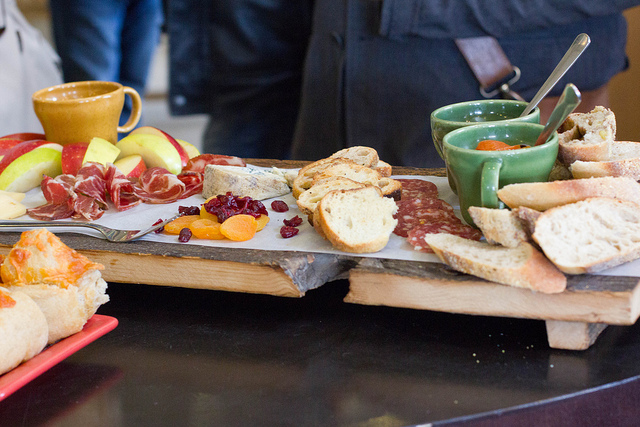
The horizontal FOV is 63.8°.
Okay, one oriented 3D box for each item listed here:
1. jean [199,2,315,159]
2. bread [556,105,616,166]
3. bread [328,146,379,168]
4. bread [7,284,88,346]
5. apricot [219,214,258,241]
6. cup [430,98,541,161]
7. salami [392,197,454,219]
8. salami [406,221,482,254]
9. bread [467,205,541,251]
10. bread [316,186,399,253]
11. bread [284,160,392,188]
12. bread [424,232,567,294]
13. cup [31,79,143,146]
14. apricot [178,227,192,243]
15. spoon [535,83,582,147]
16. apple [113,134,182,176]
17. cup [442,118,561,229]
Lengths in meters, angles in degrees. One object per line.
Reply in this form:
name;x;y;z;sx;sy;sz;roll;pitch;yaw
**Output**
jean;-0.296;-0.607;2.420;0.539;0.745;0.144;1;34;2
bread;0.630;-0.182;1.204;0.162;0.158;0.150;-1;13;25
bread;0.121;-0.164;1.468;0.095;0.022;0.089;3;26;44
bread;-0.482;0.169;0.995;0.176;0.102;0.123;3;16;2
apricot;-0.188;0.034;1.182;0.081;0.036;0.064;0;32;1
cup;0.418;-0.206;1.305;0.200;0.132;0.202;-5;24;2
salami;0.247;-0.036;1.259;0.084;0.013;0.078;-1;22;21
salami;0.267;0.040;1.093;0.186;0.059;0.121;1;12;21
bread;0.368;0.029;1.087;0.109;0.077;0.157;-3;10;-9
bread;0.087;0.006;1.157;0.171;0.084;0.199;5;32;8
bread;0.069;-0.108;1.441;0.175;0.040;0.123;-25;67;-5
bread;0.347;0.088;1.032;0.285;0.054;0.112;15;35;23
cup;-0.748;-0.304;1.658;0.269;0.202;0.292;3;27;-1
apricot;-0.309;0.050;1.177;0.025;0.009;0.031;7;54;2
spoon;0.496;-0.204;1.069;0.058;0.150;0.110;14;35;21
apple;-0.527;-0.197;1.601;0.228;0.125;0.152;9;15;31
cup;0.397;-0.062;1.149;0.257;0.211;0.346;0;27;18
